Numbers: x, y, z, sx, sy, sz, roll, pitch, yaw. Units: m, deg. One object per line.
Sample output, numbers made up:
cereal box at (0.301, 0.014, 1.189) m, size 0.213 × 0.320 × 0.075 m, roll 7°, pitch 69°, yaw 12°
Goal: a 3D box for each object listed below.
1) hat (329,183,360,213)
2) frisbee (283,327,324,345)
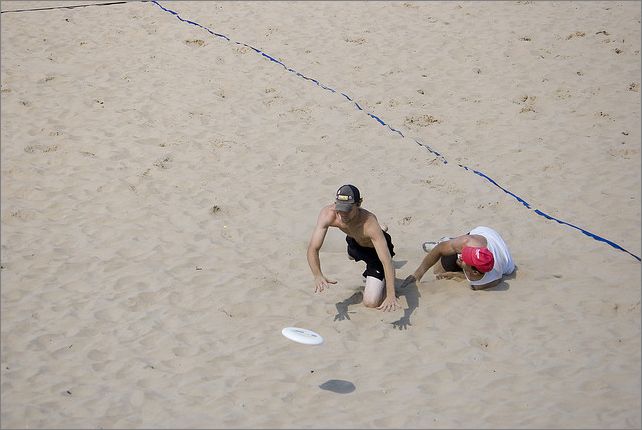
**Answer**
hat at (0.394, -0.260, 14.142) m, size 0.427 × 0.251 × 0.481 m, roll 9°, pitch 33°, yaw 15°
frisbee at (-0.253, 1.811, 13.587) m, size 0.443 × 0.356 × 0.050 m, roll 9°, pitch 101°, yaw 7°
